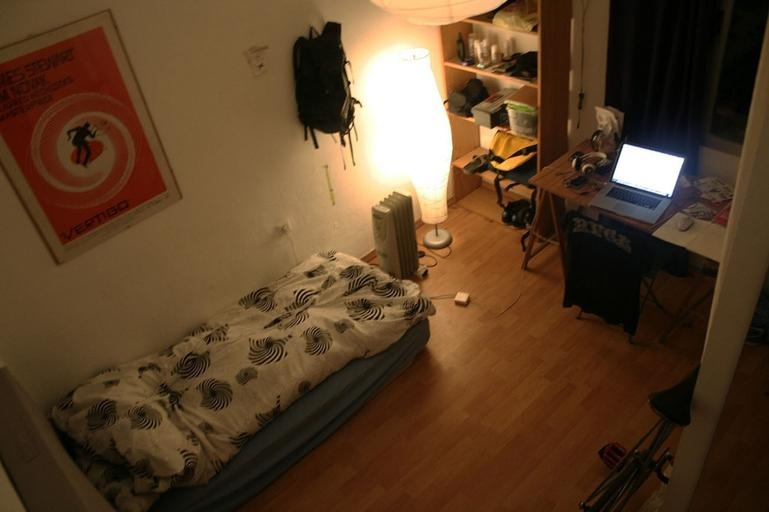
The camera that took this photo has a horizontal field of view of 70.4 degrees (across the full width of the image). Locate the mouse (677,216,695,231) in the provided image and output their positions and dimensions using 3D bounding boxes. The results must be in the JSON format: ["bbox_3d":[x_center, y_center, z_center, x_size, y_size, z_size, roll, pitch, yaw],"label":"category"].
[{"bbox_3d":[2.181,-0.250,3.947,0.085,0.033,0.121,34,63,30],"label":"mouse"}]

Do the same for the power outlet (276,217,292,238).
[{"bbox_3d":[-0.866,-0.247,4.718,0.111,0.058,0.154,-26,29,-18],"label":"power outlet"}]

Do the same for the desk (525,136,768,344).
[{"bbox_3d":[2.130,-0.115,5.030,2.065,1.387,1.154,32,65,29],"label":"desk"}]

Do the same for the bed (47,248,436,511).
[{"bbox_3d":[-1.002,0.808,4.110,2.454,0.448,1.383,-34,54,-22],"label":"bed"}]

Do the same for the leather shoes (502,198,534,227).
[{"bbox_3d":[1.329,-0.425,5.443,0.216,0.106,0.286,16,57,30],"label":"leather shoes"}]

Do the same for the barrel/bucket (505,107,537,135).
[{"bbox_3d":[1.235,-1.199,4.903,0.269,0.200,0.215,28,56,35],"label":"barrel/bucket"}]

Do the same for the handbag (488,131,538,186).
[{"bbox_3d":[1.204,-0.956,5.165,0.192,0.501,0.477,12,2,-43],"label":"handbag"}]

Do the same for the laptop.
[{"bbox_3d":[1.916,-0.575,4.130,0.500,0.324,0.519,26,49,35],"label":"laptop"}]

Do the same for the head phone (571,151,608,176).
[{"bbox_3d":[1.714,-0.782,4.542,0.252,0.104,0.181,-29,42,-7],"label":"head phone"}]

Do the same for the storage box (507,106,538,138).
[{"bbox_3d":[1.298,-1.268,4.965,0.322,0.243,0.254,22,45,41],"label":"storage box"}]

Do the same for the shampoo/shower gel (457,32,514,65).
[{"bbox_3d":[0.950,-1.931,5.056,0.334,0.223,0.184,28,52,34],"label":"shampoo/shower gel"}]

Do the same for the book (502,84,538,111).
[{"bbox_3d":[1.262,-1.436,4.870,0.260,0.065,0.261,19,55,37],"label":"book"}]

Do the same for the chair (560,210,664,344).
[{"bbox_3d":[1.822,0.026,4.493,0.709,1.000,1.197,6,32,19],"label":"chair"}]

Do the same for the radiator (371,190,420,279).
[{"bbox_3d":[0.086,-0.187,5.018,0.222,0.870,0.392,32,58,33],"label":"radiator"}]
